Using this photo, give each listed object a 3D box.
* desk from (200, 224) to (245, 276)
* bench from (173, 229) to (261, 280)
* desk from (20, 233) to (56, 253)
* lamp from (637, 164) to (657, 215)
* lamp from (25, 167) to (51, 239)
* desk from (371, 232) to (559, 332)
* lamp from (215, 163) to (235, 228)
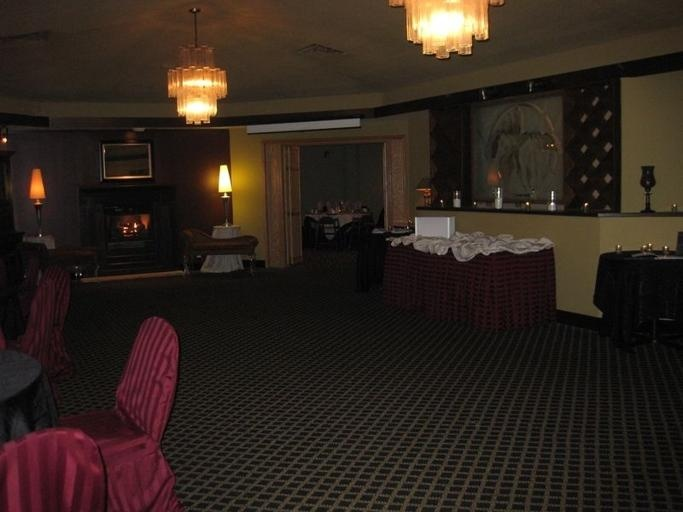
[{"bbox_3d":[-2.558,-0.176,11.317,1.010,1.126,0.896,1,1,-11],"label":"desk"},{"bbox_3d":[-2.616,-0.150,10.975,1.747,0.969,1.125,-1,8,5],"label":"bench"},{"bbox_3d":[-5.948,-0.326,10.066,0.455,0.421,0.476,0,6,-7],"label":"desk"},{"bbox_3d":[3.694,-0.830,6.231,0.153,0.546,0.669,3,9,31],"label":"lamp"},{"bbox_3d":[-6.114,-1.127,10.437,0.298,1.356,0.332,6,11,44],"label":"lamp"},{"bbox_3d":[1.540,0.287,6.587,2.050,1.015,0.868,5,11,40],"label":"desk"},{"bbox_3d":[-2.586,-1.397,11.496,0.330,1.333,0.377,-3,8,-15],"label":"lamp"}]
